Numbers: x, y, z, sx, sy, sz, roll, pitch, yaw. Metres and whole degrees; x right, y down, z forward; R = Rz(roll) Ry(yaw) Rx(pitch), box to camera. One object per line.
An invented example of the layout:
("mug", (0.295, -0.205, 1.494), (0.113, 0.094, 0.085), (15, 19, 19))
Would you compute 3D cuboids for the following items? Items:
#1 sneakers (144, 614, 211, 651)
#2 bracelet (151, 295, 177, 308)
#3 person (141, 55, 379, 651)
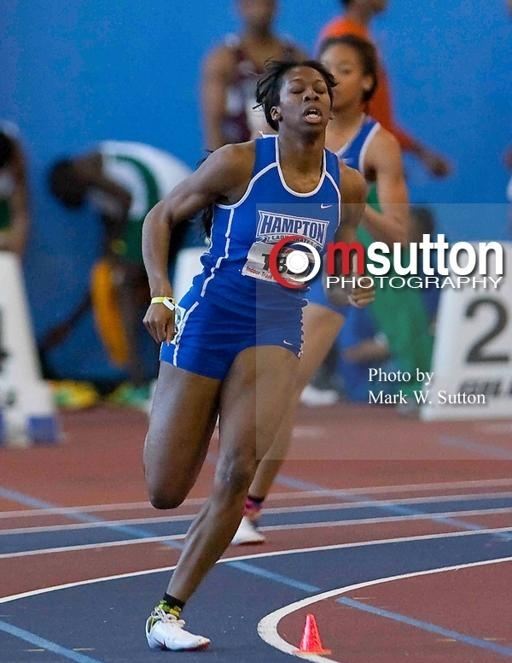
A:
("sneakers", (-0.198, 0.715, 1.940), (0.202, 0.083, 0.067), (-8, -15, 36))
("bracelet", (-0.222, -0.073, 1.977), (0.041, 0.011, 0.035), (16, 4, 7))
("person", (-0.023, 0.027, 2.062), (0.523, 1.491, 0.272), (0, 0, -7))
